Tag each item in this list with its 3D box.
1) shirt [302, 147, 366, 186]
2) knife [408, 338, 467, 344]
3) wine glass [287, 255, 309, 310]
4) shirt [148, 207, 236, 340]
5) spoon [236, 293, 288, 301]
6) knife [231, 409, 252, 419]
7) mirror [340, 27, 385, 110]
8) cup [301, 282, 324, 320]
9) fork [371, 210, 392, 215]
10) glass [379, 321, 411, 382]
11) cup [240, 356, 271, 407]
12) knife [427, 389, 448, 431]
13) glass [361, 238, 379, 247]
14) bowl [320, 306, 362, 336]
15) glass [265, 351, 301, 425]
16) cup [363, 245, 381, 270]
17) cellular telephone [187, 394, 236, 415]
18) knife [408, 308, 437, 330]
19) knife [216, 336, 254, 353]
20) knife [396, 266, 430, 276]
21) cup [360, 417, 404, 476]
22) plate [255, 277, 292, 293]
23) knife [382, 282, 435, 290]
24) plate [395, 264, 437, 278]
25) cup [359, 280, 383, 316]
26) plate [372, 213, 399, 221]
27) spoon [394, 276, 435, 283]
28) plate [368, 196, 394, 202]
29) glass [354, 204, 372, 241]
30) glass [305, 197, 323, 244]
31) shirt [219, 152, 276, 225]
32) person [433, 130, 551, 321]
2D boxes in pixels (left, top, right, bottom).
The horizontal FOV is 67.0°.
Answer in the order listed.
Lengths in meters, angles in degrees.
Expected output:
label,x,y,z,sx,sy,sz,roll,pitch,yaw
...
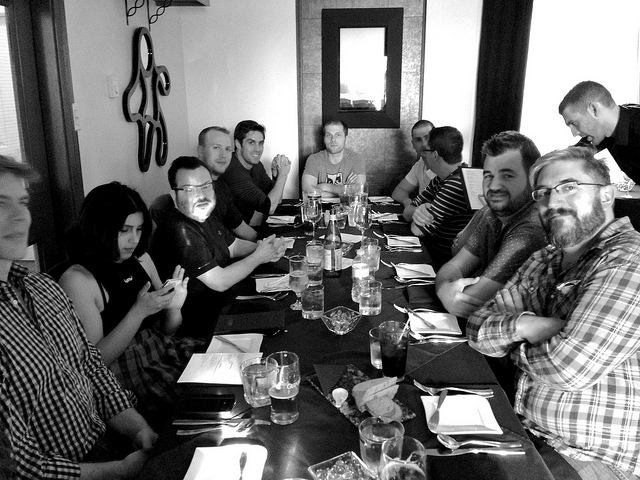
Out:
label,x,y,z,sx,sy,sz,roll,pitch,yaw
shirt,0.143,-0.699,4.695,0.599,0.562,0.217,3,-1,1
knife,0.468,0.400,1.917,0.234,0.011,0.028,-2,19,-3
wine glass,-0.098,0.196,2.267,0.110,0.239,0.106,2,11,10
shirt,-0.692,0.151,2.698,0.474,0.626,0.704,-9,21,-20
spoon,-0.274,0.277,2.302,0.242,0.011,0.061,-4,19,-8
knife,-0.250,0.558,1.547,0.082,0.009,0.015,-18,26,-36
mirror,0.452,-1.803,5.193,0.685,1.166,0.094,1,-12,2
cup,-0.030,0.272,2.173,0.126,0.144,0.131,0,4,0
fork,0.498,-0.224,3.943,0.198,0.028,0.014,11,-37,-34
glass,0.250,0.396,1.727,0.133,0.206,0.133,-4,7,-16
cup,-0.200,0.491,1.642,0.145,0.145,0.131,-5,-20,4
knife,0.375,0.541,1.519,0.029,0.023,0.238,21,25,17
glass,0.281,0.011,2.739,0.062,0.046,0.057,3,5,34
bowl,0.087,0.346,2.107,0.237,0.082,0.205,1,-21,18
glass,-0.124,0.467,1.623,0.107,0.143,0.270,-2,19,-2
cup,0.275,0.101,2.623,0.113,0.124,0.116,-2,4,0
cellular telephone,-0.359,0.534,1.593,0.159,0.021,0.114,-1,19,0
knife,0.442,0.347,2.096,0.024,0.023,0.216,-23,21,-8
knife,-0.345,0.412,1.917,0.189,0.011,0.022,13,24,36
knife,0.492,0.166,2.575,0.107,0.005,0.013,21,59,26
cup,0.163,0.558,1.362,0.117,0.131,0.118,2,10,0
plate,-0.241,0.222,2.455,0.169,0.013,0.196,-3,19,-6
knife,0.442,0.227,2.413,0.274,0.013,0.056,-6,20,-13
plate,0.506,0.162,2.591,0.202,0.024,0.228,0,19,5
cup,0.246,0.278,2.198,0.135,0.153,0.143,2,-8,0
plate,0.505,-0.168,3.729,0.202,0.013,0.160,1,19,6
spoon,0.480,0.206,2.468,0.196,0.014,0.052,3,19,12
plate,0.565,-0.372,4.432,0.218,0.014,0.157,0,19,3
glass,0.278,-0.135,3.169,0.106,0.234,0.214,0,19,4
glass,-0.043,-0.123,3.198,0.118,0.287,0.109,-3,2,-18
shirt,-0.612,-0.428,4.010,0.393,0.440,0.628,-8,-21,13
person,0.878,-0.082,2.508,0.719,0.874,0.759,7,4,42
